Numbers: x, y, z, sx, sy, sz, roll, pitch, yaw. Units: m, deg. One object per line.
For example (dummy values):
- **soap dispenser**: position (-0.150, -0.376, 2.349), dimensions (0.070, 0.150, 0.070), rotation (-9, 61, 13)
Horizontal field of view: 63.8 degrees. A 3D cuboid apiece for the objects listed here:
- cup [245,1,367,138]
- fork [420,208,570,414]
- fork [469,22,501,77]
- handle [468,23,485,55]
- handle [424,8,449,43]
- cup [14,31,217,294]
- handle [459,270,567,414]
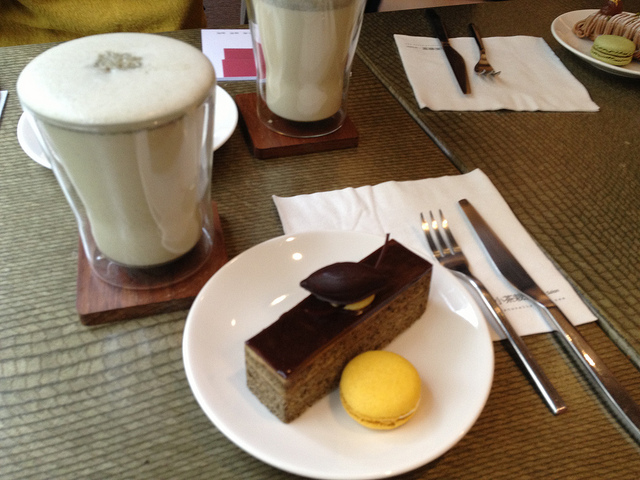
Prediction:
- **cup**: position (-0.014, -0.304, 0.837), dimensions (0.183, 0.264, 0.218), rotation (-3, 41, -4)
- **fork**: position (0.193, 0.085, 0.573), dimensions (0.028, 0.028, 0.240), rotation (-13, 56, -18)
- **fork**: position (0.319, -0.378, 1.009), dimensions (0.034, 0.024, 0.146), rotation (-2, 47, 0)
- **handle**: position (0.317, -0.411, 1.046), dimensions (0.020, 0.011, 0.088), rotation (-3, 47, -1)
- **handle**: position (0.240, -0.448, 1.066), dimensions (0.022, 0.010, 0.119), rotation (-8, 45, -3)
- **cup**: position (-0.200, -0.082, 0.572), dimensions (0.203, 0.237, 0.217), rotation (4, 44, -3)
- **handle**: position (0.190, 0.085, 0.557), dimensions (0.029, 0.017, 0.220), rotation (-26, 78, -38)
